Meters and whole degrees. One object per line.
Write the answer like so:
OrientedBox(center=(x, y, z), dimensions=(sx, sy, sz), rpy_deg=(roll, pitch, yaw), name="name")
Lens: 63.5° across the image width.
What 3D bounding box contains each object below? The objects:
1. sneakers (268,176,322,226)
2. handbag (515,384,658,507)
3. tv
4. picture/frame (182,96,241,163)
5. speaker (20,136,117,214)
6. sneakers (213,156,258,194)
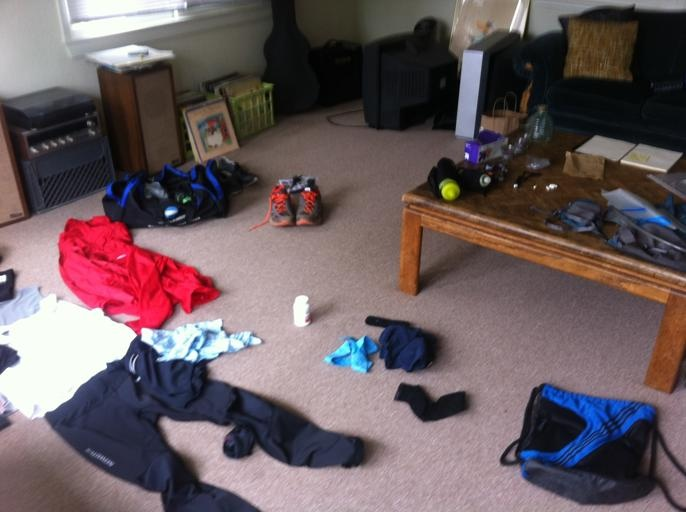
OrientedBox(center=(-0.279, -0.317, 3.434), dimensions=(0.231, 0.146, 0.400), rpy_deg=(-1, 26, -1), name="sneakers")
OrientedBox(center=(0.934, 0.707, 2.110), dimensions=(0.485, 0.116, 0.489), rpy_deg=(14, 37, 21), name="handbag")
OrientedBox(center=(0.523, -1.404, 4.685), dimensions=(0.726, 0.794, 0.934), rpy_deg=(15, 36, 28), name="tv")
OrientedBox(center=(-0.983, -0.917, 4.062), dimensions=(0.065, 0.455, 0.464), rpy_deg=(-5, 21, 44), name="picture/frame")
OrientedBox(center=(-1.700, -0.491, 3.385), dimensions=(0.216, 0.268, 0.389), rpy_deg=(26, 41, 25), name="speaker")
OrientedBox(center=(-0.721, -0.522, 3.672), dimensions=(0.323, 0.132, 0.185), rpy_deg=(28, 48, 23), name="sneakers")
